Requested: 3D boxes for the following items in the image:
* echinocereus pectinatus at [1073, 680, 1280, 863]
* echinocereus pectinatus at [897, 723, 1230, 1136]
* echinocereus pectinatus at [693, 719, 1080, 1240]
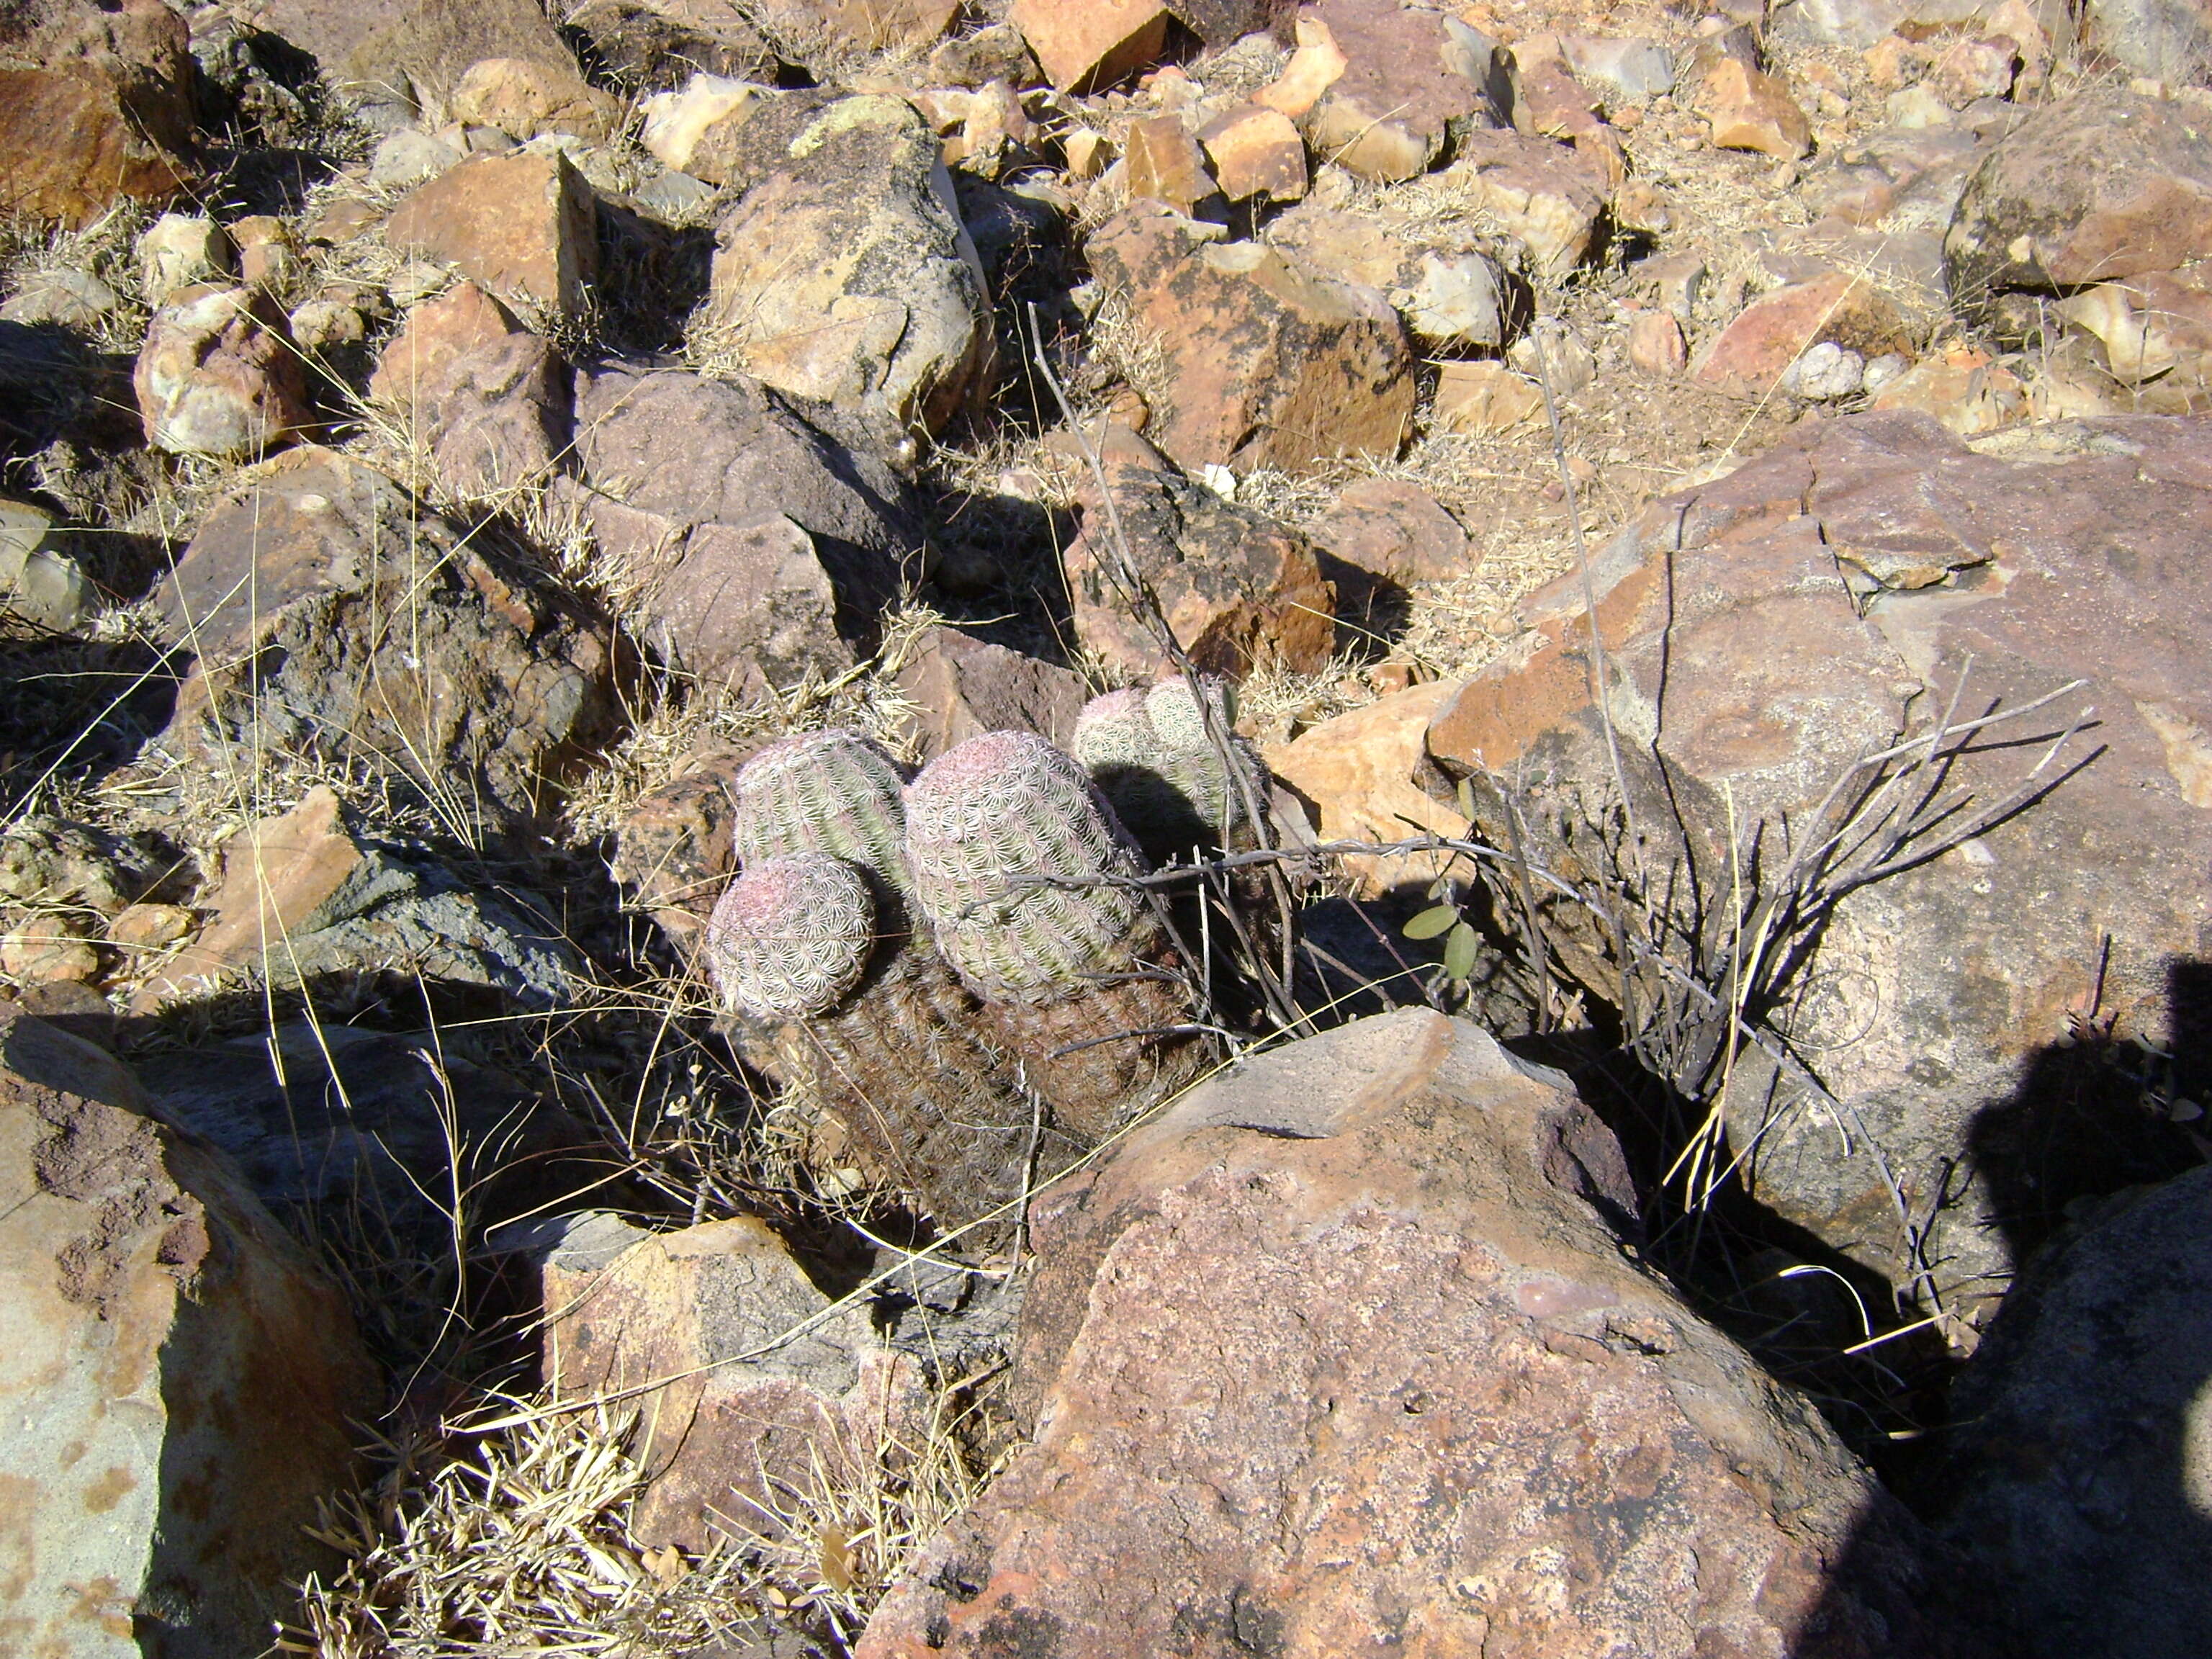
[{"bbox_3d":[0.137,-0.162,4.579,0.325,0.432,0.248,-32,-9,-11],"label":"echinocereus pectinatus"},{"bbox_3d":[-0.048,0.257,4.328,0.327,0.835,0.348,-4,21,17],"label":"echinocereus pectinatus"},{"bbox_3d":[-0.434,0.347,4.285,0.397,1.151,0.394,-13,30,18],"label":"echinocereus pectinatus"}]
